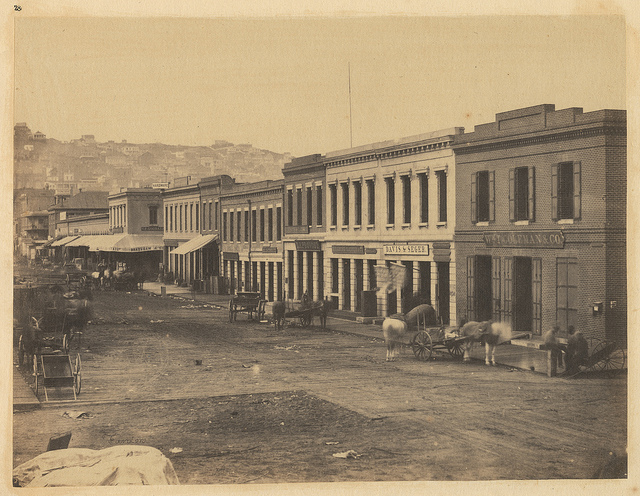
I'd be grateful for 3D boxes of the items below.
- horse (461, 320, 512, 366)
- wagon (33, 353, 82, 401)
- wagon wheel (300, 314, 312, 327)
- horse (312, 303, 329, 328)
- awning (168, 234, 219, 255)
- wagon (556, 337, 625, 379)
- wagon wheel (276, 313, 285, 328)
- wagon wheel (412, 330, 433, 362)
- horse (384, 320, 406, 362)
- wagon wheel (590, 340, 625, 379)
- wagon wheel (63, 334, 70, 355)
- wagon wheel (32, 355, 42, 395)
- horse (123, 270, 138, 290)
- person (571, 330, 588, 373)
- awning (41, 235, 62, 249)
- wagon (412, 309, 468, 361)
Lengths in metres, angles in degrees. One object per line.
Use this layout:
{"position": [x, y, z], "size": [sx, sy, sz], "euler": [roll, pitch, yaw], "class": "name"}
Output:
{"position": [5.903, 3.359, 40.569], "size": [1.909, 1.610, 0.755], "euler": [5, 11, 34], "class": "horse"}
{"position": [-8.410, 4.088, 36.246], "size": [1.413, 1.537, 2.183], "euler": [-3, 9, -13], "class": "wagon"}
{"position": [-0.649, 3.251, 50.873], "size": [0.406, 0.611, 0.145], "euler": [0, 12, 5], "class": "wagon wheel"}
{"position": [0.024, 2.968, 50.300], "size": [0.745, 1.077, 1.150], "euler": [-1, 9, -1], "class": "horse"}
{"position": [-8.334, -0.268, 76.252], "size": [2.635, 1.531, 4.482], "euler": [-4, 10, -17], "class": "awning"}
{"position": [9.654, 3.884, 39.491], "size": [1.700, 1.544, 2.009], "euler": [-7, 0, -2], "class": "wagon"}
{"position": [-1.699, 3.233, 51.144], "size": [0.149, 0.520, 0.529], "euler": [13, 9, 42], "class": "wagon wheel"}
{"position": [3.751, 3.562, 41.225], "size": [0.243, 0.974, 0.934], "euler": [4, 7, -26], "class": "wagon wheel"}
{"position": [2.686, 3.316, 41.311], "size": [0.720, 1.622, 0.776], "euler": [-1, 9, -3], "class": "horse"}
{"position": [9.942, 3.873, 39.106], "size": [1.212, 1.286, 0.207], "euler": [-1, 4, -6], "class": "wagon wheel"}
{"position": [-8.782, 3.314, 39.082], "size": [0.223, 0.801, 0.778], "euler": [-4, -5, -6], "class": "wagon wheel"}
{"position": [-9.209, 4.115, 36.806], "size": [0.304, 1.233, 1.192], "euler": [1, -3, -10], "class": "wagon wheel"}
{"position": [-12.804, 2.187, 76.652], "size": [0.620, 1.254, 2.323], "euler": [0, 9, 6], "class": "horse"}
{"position": [8.814, 3.536, 38.453], "size": [0.534, 1.465, 0.525], "euler": [1, 9, 13], "class": "person"}
{"position": [-25.896, -0.566, 108.581], "size": [1.379, 0.654, 2.319], "euler": [-15, 0, -13], "class": "awning"}
{"position": [4.512, 3.158, 41.324], "size": [2.370, 1.557, 1.407], "euler": [-1, 3, 30], "class": "wagon"}
